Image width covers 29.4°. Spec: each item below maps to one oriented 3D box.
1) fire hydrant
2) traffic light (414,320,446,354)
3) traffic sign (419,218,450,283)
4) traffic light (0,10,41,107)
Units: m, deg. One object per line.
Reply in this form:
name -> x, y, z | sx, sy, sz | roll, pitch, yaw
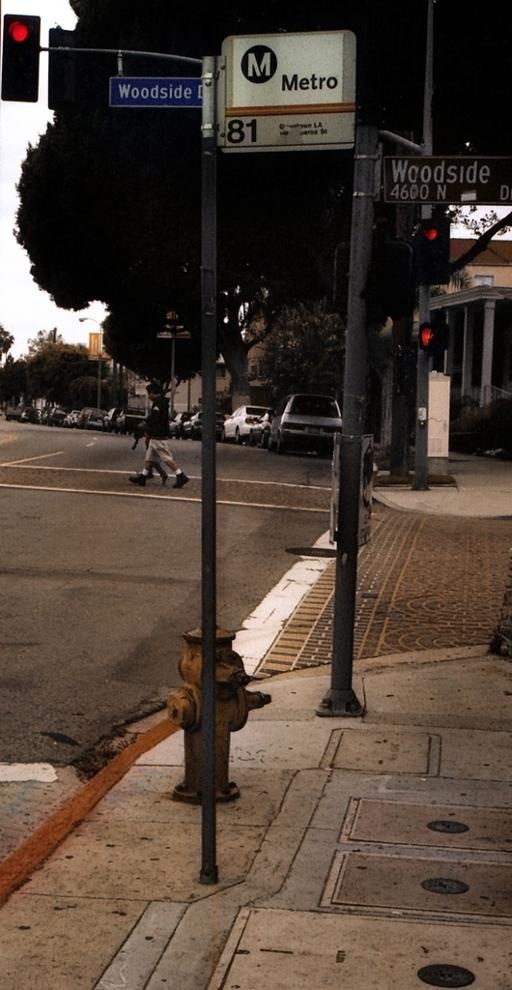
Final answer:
fire hydrant -> -0.156, 0.847, 3.682 | 0.359, 0.746, 0.655 | 1, 4, 2
traffic light -> 3.326, -2.947, 18.332 | 0.505, 0.604, 0.537 | 2, 4, 10
traffic sign -> 3.308, -4.639, 18.180 | 0.543, 1.258, 0.814 | 2, 4, 21
traffic light -> -3.282, -6.088, 13.625 | 0.509, 1.210, 0.330 | -1, 4, -21
